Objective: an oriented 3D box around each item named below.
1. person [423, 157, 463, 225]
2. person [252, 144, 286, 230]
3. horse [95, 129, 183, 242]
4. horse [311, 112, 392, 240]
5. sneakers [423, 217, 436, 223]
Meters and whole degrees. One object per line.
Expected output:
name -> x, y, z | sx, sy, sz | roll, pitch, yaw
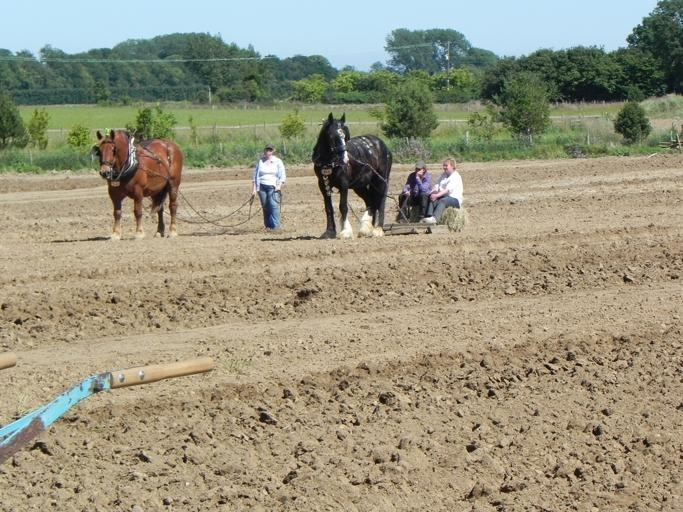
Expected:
person -> 2.053, -1.340, 19.851 | 0.660, 1.246, 0.814 | 6, 16, 31
person -> -1.484, -1.434, 20.436 | 0.602, 1.795, 0.619 | -3, 13, -2
horse -> -3.981, -1.423, 19.592 | 0.939, 2.158, 3.241 | 1, 4, 14
horse -> 0.079, -1.423, 19.138 | 1.052, 2.222, 3.032 | 2, 1, 22
sneakers -> 1.738, -0.705, 19.545 | 0.224, 0.103, 0.254 | -1, 14, 5
